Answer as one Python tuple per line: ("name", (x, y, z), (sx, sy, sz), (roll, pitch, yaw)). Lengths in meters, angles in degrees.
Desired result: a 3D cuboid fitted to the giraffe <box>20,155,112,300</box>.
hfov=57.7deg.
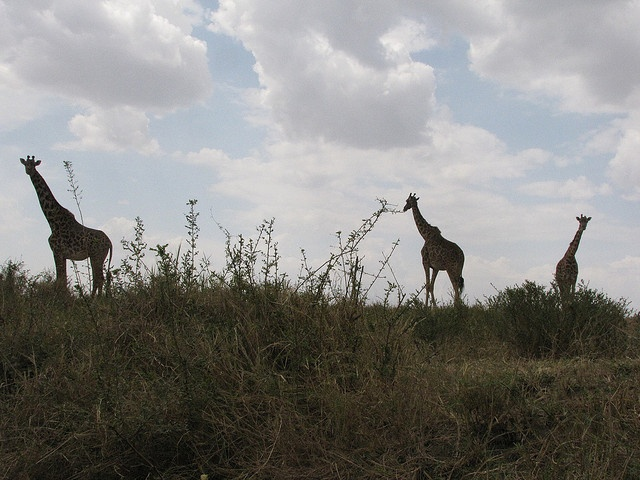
("giraffe", (-4.693, -0.276, 10.597), (1.520, 2.529, 1.346), (-2, 6, -2))
